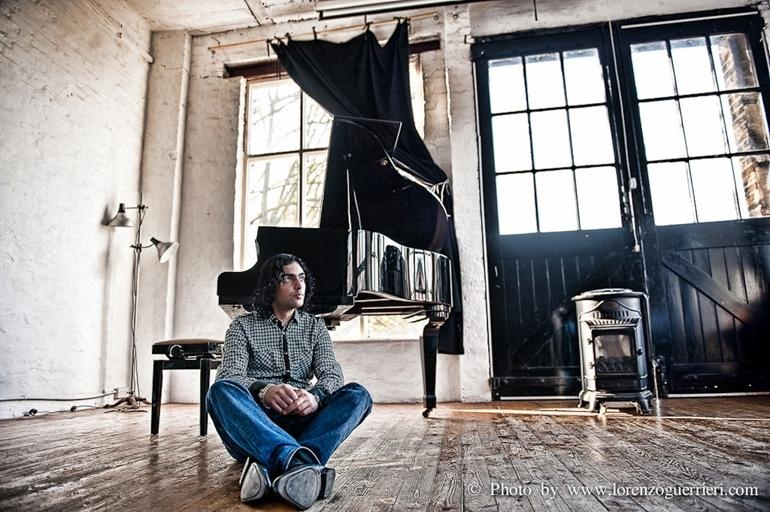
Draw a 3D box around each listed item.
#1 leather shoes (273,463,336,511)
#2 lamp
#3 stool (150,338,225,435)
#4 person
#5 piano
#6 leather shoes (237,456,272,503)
[{"bbox_3d":[-0.415,1.233,2.968,0.368,0.145,0.165,2,-13,-42],"label":"leather shoes"},{"bbox_3d":[-2.785,0.462,5.996,0.436,2.281,0.532,-3,-7,9],"label":"lamp"},{"bbox_3d":[-1.693,1.042,4.519,0.617,0.660,0.648,-6,-10,29],"label":"stool"},{"bbox_3d":[-0.588,0.665,3.234,0.713,1.419,0.682,-7,-8,35],"label":"person"},{"bbox_3d":[-0.422,0.579,5.079,2.062,1.562,1.765,3,-8,-13],"label":"piano"},{"bbox_3d":[-0.710,1.186,2.916,0.166,0.225,0.072,-10,-13,20],"label":"leather shoes"}]
